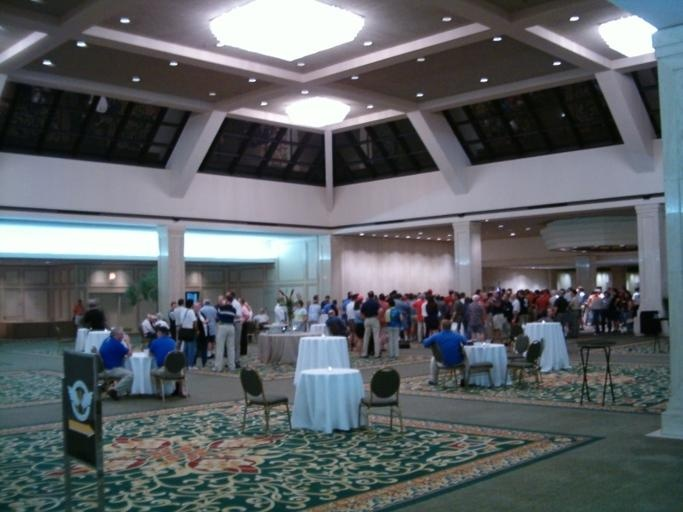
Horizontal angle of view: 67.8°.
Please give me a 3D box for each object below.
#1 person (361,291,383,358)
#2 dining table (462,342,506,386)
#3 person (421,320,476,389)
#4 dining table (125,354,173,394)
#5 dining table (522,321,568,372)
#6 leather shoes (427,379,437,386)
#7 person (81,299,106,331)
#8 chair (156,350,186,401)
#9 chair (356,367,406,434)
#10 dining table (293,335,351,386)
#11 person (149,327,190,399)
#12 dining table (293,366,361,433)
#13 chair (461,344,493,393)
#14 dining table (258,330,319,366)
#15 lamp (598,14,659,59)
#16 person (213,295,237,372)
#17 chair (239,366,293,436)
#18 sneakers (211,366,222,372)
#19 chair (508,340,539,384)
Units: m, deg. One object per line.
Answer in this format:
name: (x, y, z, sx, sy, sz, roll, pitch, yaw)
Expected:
person: (0.827, 1.851, 13.770, 0.727, 1.749, 0.729, 9, -17, -40)
dining table: (2.611, 2.111, 9.431, 0.866, 0.721, 0.887, -9, -23, 16)
person: (1.928, 1.772, 9.215, 0.834, 1.244, 0.726, -3, 3, 8)
dining table: (-3.321, 2.057, 8.967, 0.680, 0.703, 0.692, -5, -11, 19)
dining table: (4.667, 1.971, 11.462, 0.861, 1.021, 0.969, -7, 4, -42)
leather shoes: (1.704, 2.355, 9.436, 0.088, 0.074, 0.175, 4, -10, -21)
person: (-7.316, 1.743, 15.012, 0.563, 0.838, 1.197, 1, -6, -27)
chair: (-2.895, 1.997, 8.553, 0.528, 0.847, 1.071, 0, -6, -21)
chair: (0.509, 1.739, 6.237, 0.400, 0.786, 0.453, 2, -5, -4)
dining table: (-0.405, 1.885, 9.647, 0.885, 1.086, 0.933, 0, -8, -14)
person: (-3.056, 1.805, 8.895, 0.614, 1.355, 0.633, -7, 0, -2)
dining table: (-0.153, 1.823, 6.622, 0.935, 0.702, 0.925, -2, -1, -3)
chair: (2.423, 1.929, 9.072, 0.528, 0.819, 0.505, -11, -11, 23)
dining table: (-1.632, 2.349, 13.569, 1.061, 0.548, 1.125, -5, -2, 10)
lamp: (6.733, -5.141, 11.859, 0.993, 0.337, 1.660, -7, -8, 42)
person: (-2.797, 1.808, 12.173, 0.501, 1.782, 1.196, 0, -5, -13)
chair: (-0.976, 1.815, 6.451, 0.472, 0.890, 0.554, -5, -4, 41)
sneakers: (-2.901, 2.637, 11.797, 0.265, 0.124, 0.094, 3, -2, 24)
chair: (3.312, 1.906, 9.270, 0.479, 0.801, 0.526, -6, 5, -31)
